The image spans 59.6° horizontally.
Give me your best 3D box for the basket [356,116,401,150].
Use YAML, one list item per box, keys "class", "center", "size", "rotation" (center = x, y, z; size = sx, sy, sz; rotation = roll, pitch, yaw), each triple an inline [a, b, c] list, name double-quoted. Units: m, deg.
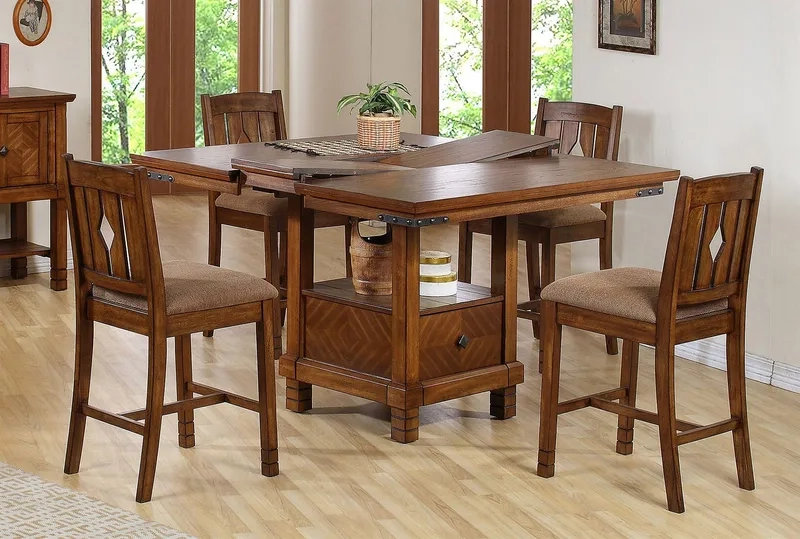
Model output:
- class: "basket"
  center: [-0.097, -0.668, 3.438]
  size: [0.226, 0.108, 0.192]
  rotation: [4, 13, 16]
